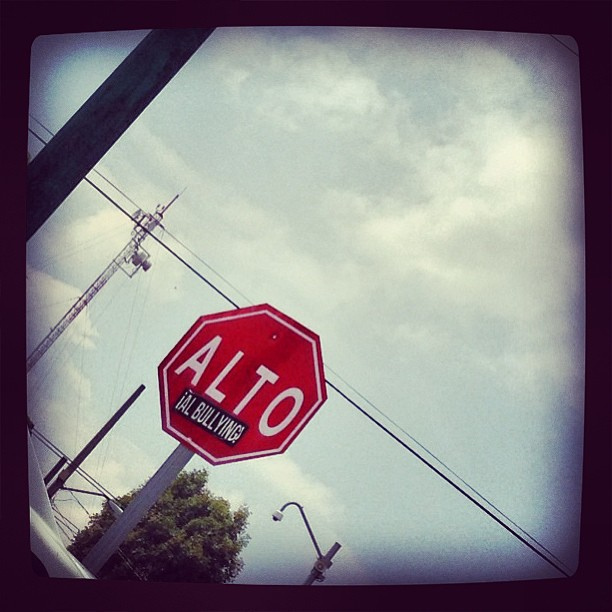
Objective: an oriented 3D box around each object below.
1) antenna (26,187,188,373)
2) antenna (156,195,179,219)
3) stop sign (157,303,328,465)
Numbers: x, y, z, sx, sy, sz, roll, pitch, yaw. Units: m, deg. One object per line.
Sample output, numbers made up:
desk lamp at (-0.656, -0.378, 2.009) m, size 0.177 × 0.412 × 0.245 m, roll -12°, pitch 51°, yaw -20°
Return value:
antenna at (-0.582, -0.055, 2.886) m, size 0.157 × 0.651 × 0.069 m, roll 44°, pitch -11°, yaw 16°
antenna at (-0.398, -0.295, 2.953) m, size 0.010 × 0.092 × 0.033 m, roll 49°, pitch 0°, yaw 35°
stop sign at (-0.171, 0.224, 2.891) m, size 0.441 × 0.387 × 0.024 m, roll 0°, pitch 5°, yaw 1°
